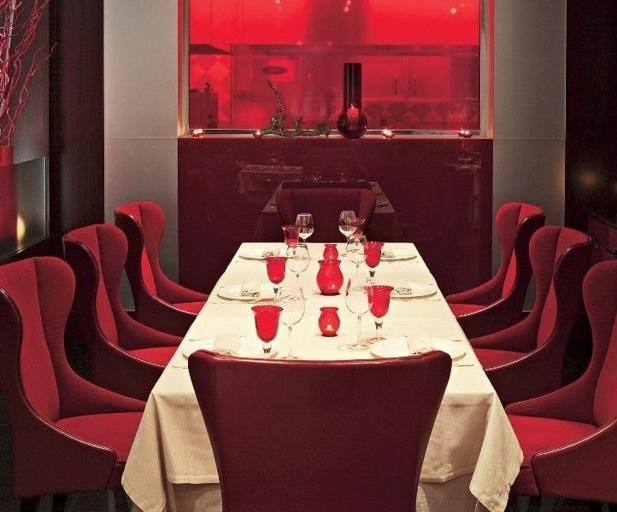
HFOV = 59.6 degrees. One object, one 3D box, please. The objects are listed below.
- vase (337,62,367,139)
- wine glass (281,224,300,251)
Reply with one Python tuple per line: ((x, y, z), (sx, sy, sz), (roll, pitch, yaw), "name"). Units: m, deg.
((0.386, -1.370, 4.726), (0.247, 0.666, 0.302), (2, 11, 3), "vase")
((-0.082, -0.093, 2.685), (0.092, 0.153, 0.109), (0, -5, -1), "wine glass")
